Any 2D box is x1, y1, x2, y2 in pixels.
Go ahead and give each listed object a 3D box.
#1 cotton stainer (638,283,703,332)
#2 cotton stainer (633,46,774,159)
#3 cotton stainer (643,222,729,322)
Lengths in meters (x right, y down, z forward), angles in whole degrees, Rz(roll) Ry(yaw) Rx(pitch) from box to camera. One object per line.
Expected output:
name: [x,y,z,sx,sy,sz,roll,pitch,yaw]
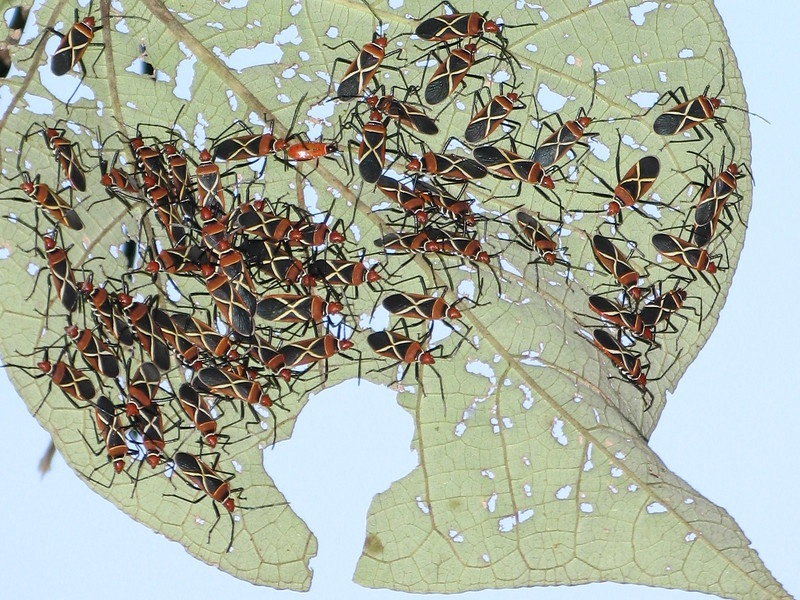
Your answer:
cotton stainer: [2.723,0.079,13.990,0.566,0.191,0.403,-32,-95,27]
cotton stainer: [2.941,-1.755,13.330,0.975,0.284,0.839,-34,-73,20]
cotton stainer: [2.882,-0.344,13.717,0.575,0.461,0.764,-2,-76,-15]
